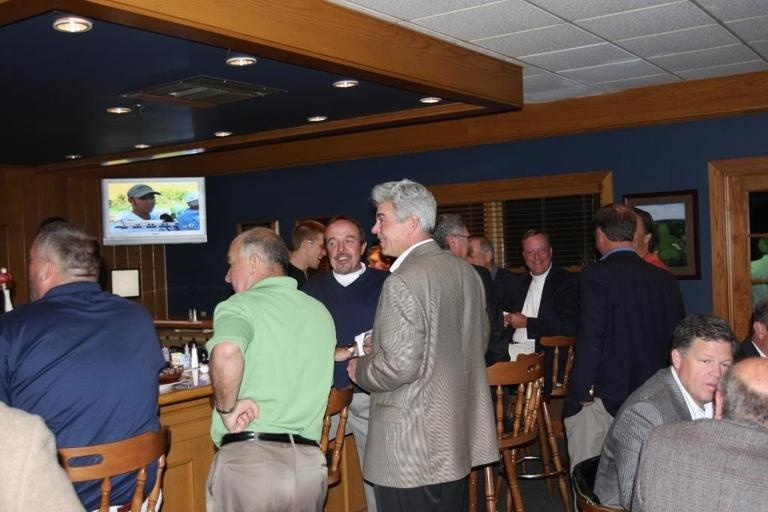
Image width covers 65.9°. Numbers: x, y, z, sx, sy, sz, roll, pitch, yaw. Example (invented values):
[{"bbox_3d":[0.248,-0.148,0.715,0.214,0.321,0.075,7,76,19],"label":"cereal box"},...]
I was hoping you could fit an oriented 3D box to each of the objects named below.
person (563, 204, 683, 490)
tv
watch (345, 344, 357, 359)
[{"bbox_3d":[1.543,0.834,4.043,0.841,2.240,0.647,-1,9,-7],"label":"person"},{"bbox_3d":[-2.931,-0.576,7.563,1.102,0.680,0.110,0,3,0],"label":"tv"},{"bbox_3d":[-0.174,0.500,3.103,0.072,0.060,0.066,-3,-6,-5],"label":"watch"}]
